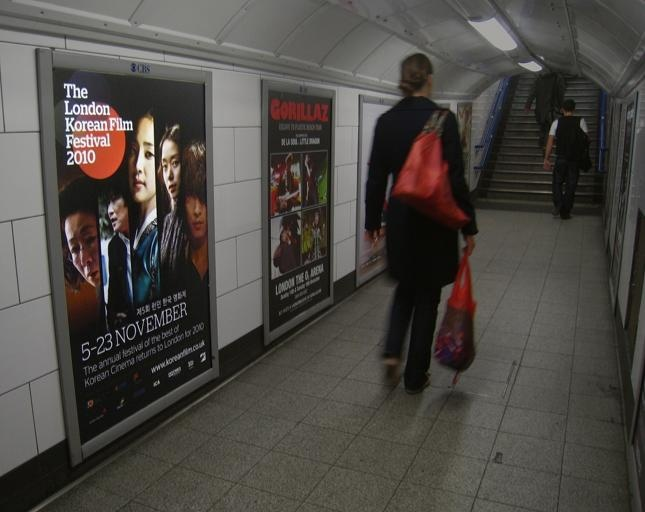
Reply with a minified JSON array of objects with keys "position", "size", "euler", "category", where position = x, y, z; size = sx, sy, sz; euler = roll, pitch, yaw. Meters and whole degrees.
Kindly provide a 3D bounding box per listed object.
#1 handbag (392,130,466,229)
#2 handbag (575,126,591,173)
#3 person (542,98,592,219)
[{"position":[0.740,-0.525,3.016],"size":[0.476,0.533,0.220],"euler":[29,-23,-27],"category":"handbag"},{"position":[6.183,-2.515,10.375],"size":[0.310,1.000,0.825],"euler":[7,13,36],"category":"handbag"},{"position":[5.847,-2.303,10.462],"size":[0.953,2.822,0.742],"euler":[6,12,32],"category":"person"}]
